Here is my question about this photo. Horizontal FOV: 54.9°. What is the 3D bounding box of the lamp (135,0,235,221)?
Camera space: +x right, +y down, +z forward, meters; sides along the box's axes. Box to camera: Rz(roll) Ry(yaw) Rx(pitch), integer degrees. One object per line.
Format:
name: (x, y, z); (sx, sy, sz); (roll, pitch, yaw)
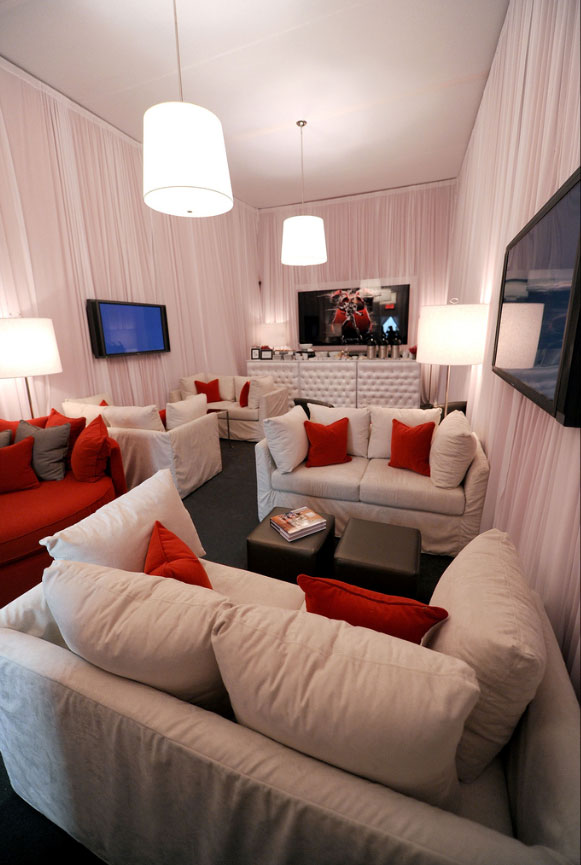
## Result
lamp: (-0.402, -1.081, 2.187); (0.343, 0.384, 0.415); (0, 14, -6)

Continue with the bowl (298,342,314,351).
bowl: (0.216, -1.179, 7.467); (0.137, 0.100, 0.134); (1, 16, 0)

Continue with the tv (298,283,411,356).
tv: (0.793, -1.500, 7.207); (1.506, 0.840, 0.170); (9, 15, 26)
